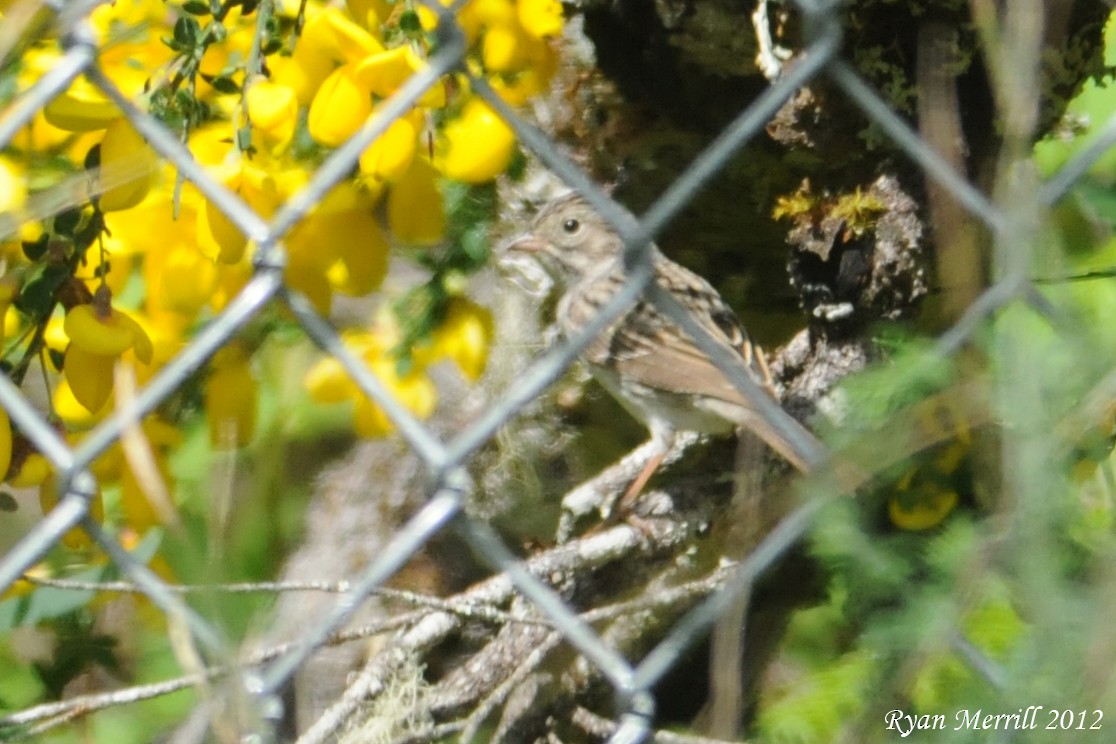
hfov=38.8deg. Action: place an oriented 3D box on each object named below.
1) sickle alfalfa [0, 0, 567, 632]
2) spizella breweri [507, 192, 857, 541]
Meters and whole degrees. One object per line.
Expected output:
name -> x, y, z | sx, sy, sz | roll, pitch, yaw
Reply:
sickle alfalfa -> -0.242, -0.047, 1.363 | 0.052, 0.479, 0.442 | 1, 71, 52
spizella breweri -> 0.116, -0.017, 1.575 | 0.375, 0.272, 0.140 | 14, 19, 9
